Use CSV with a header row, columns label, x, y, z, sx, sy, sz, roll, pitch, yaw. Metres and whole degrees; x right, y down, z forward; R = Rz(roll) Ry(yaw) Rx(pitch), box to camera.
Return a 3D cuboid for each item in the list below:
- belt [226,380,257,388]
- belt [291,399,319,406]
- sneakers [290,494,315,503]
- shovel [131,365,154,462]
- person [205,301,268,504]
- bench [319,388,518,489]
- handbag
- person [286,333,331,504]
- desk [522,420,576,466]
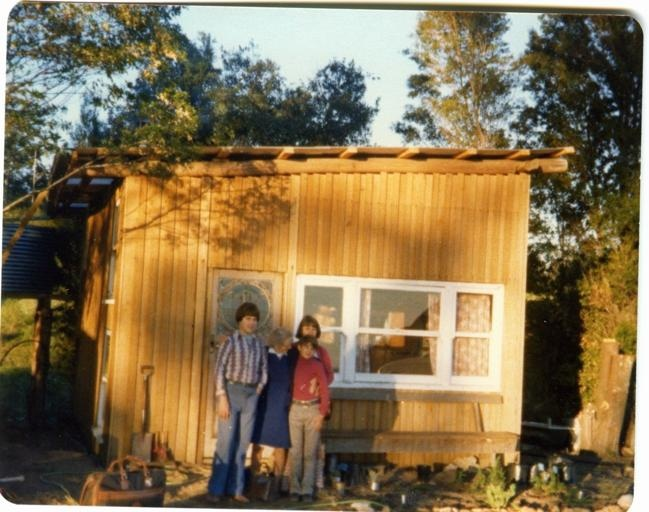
label,x,y,z,sx,sy,sz,roll,pitch,yaw
belt,-1.402,2.139,14.681,0.495,0.078,0.121,6,-6,-17
belt,-0.322,2.455,14.685,0.426,0.099,0.043,3,-5,8
sneakers,-0.387,4.100,14.751,0.290,0.123,0.174,7,-5,4
shovel,-3.329,2.856,15.991,0.387,1.759,0.175,4,-5,-14
person,-1.446,2.440,14.716,0.871,3.307,0.329,4,-5,-9
bench,1.659,3.314,16.074,3.466,1.497,1.172,1,-3,-1
handbag,-3.372,3.800,14.677,0.806,0.820,0.491,3,-3,-8
person,-0.259,2.733,14.717,0.691,2.760,0.429,3,-5,-3
desk,4.995,4.043,19.254,1.098,0.669,2.671,2,-6,13
